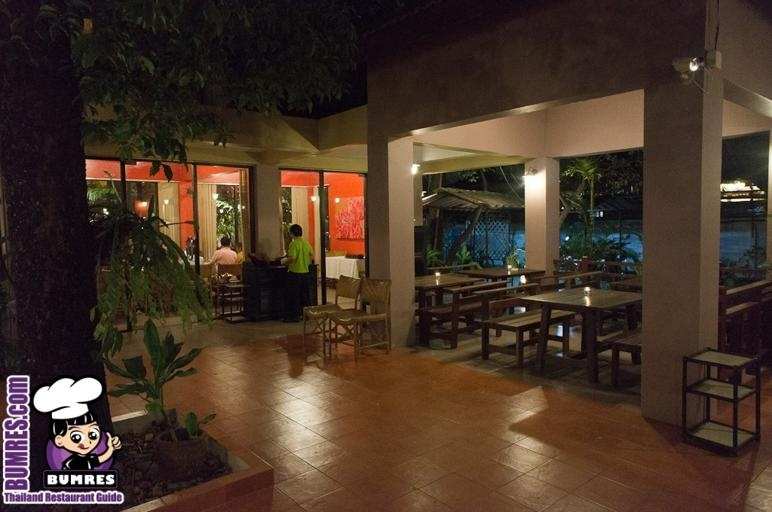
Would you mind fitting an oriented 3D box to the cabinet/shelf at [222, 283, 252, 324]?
[{"bbox_3d":[-3.101,0.894,10.858,0.760,0.713,0.580,-3,-12,43],"label":"cabinet/shelf"}]

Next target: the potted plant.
[{"bbox_3d":[-1.710,1.177,4.299,0.852,1.244,0.632,-11,-4,-7],"label":"potted plant"}]

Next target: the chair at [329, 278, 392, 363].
[{"bbox_3d":[-0.404,0.894,8.031,0.860,1.080,0.842,0,4,-24],"label":"chair"}]

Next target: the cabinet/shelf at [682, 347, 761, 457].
[{"bbox_3d":[3.228,1.379,5.310,0.620,0.789,0.592,0,3,45],"label":"cabinet/shelf"}]

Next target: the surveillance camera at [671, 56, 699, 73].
[{"bbox_3d":[2.831,-1.791,5.161,0.259,0.133,0.084,-4,9,-17],"label":"surveillance camera"}]

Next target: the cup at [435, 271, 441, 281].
[{"bbox_3d":[0.907,0.367,9.657,0.128,0.223,0.128,1,2,0],"label":"cup"}]

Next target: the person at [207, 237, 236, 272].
[{"bbox_3d":[-3.390,-0.023,11.336,0.503,0.919,0.526,-5,28,-19],"label":"person"}]

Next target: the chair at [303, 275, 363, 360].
[{"bbox_3d":[-0.830,0.907,8.428,0.815,1.101,0.721,-3,8,-32],"label":"chair"}]
